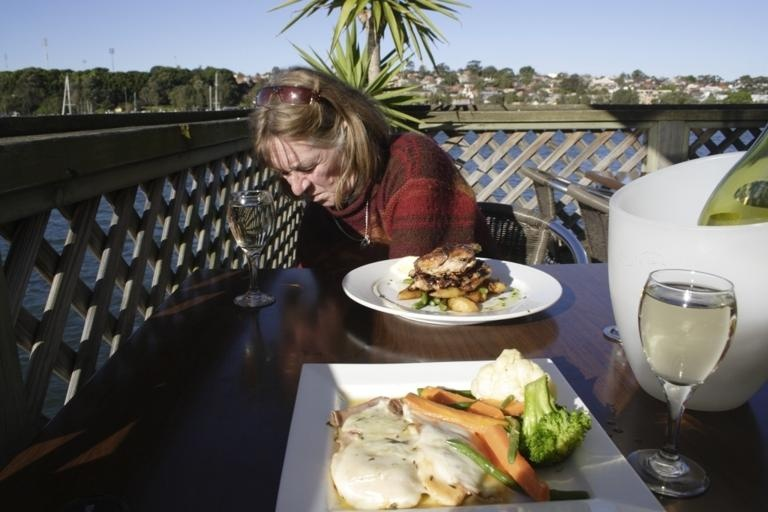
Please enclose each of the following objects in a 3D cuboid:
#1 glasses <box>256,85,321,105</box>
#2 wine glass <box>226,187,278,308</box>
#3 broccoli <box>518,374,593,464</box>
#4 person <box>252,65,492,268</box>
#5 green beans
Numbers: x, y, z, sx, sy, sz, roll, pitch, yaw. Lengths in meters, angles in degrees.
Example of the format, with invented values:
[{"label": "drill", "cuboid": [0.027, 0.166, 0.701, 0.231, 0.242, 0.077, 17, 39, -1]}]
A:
[{"label": "glasses", "cuboid": [-0.420, -0.681, 2.040, 0.288, 0.075, 0.096, 5, 18, 16]}, {"label": "wine glass", "cuboid": [-0.389, -0.009, 1.364, 0.133, 0.351, 0.137, 1, 16, 4]}, {"label": "broccoli", "cuboid": [0.274, 0.286, 0.833, 0.102, 0.127, 0.142, 3, 7, 7]}, {"label": "person", "cuboid": [-0.054, -0.346, 2.192, 0.987, 0.942, 0.497, 5, 19, 15]}, {"label": "green beans", "cuboid": [0.208, 0.336, 0.744, 0.216, 0.067, 0.030, 6, 19, 18]}]
